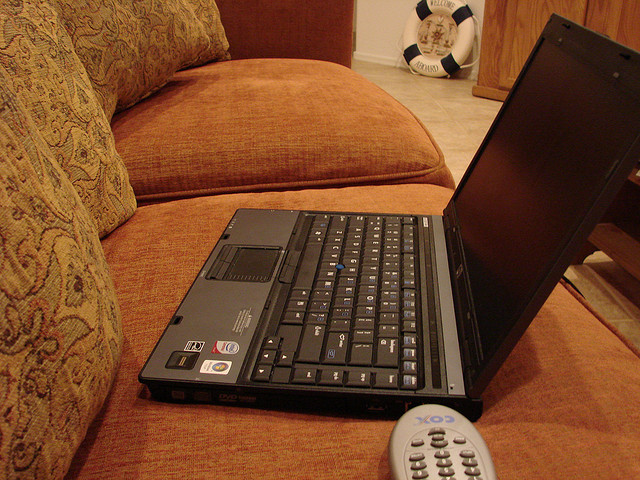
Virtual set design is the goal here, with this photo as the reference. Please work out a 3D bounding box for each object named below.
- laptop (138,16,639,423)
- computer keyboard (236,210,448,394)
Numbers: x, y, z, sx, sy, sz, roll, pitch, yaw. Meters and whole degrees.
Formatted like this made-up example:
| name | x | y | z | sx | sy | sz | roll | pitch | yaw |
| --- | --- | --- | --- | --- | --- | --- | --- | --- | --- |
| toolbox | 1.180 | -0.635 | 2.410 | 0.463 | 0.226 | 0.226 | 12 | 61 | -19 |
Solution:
| name | x | y | z | sx | sy | sz | roll | pitch | yaw |
| --- | --- | --- | --- | --- | --- | --- | --- | --- | --- |
| laptop | 0.074 | -0.056 | 0.620 | 0.657 | 0.347 | 0.462 | -12 | 40 | -13 |
| computer keyboard | 0.057 | 0.060 | 0.737 | 0.304 | 0.037 | 0.492 | 2 | 28 | 6 |
